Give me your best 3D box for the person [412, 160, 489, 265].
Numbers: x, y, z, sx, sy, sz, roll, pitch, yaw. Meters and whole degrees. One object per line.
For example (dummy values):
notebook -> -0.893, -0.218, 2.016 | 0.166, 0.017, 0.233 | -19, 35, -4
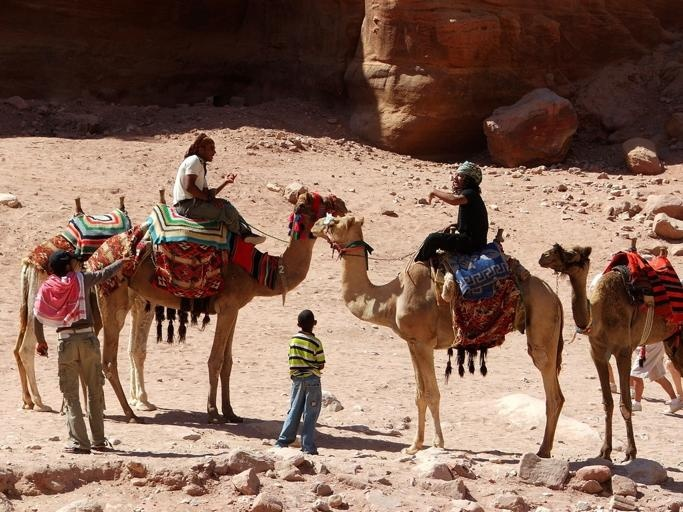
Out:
person -> 1.351, -0.561, 11.589 | 0.803, 1.175, 0.704 | 3, 14, 27

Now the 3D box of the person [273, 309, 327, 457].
person -> -0.380, 1.399, 11.362 | 0.793, 1.398, 0.667 | 1, 1, 22

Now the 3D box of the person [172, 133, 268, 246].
person -> -1.508, -0.836, 12.170 | 0.960, 1.393, 0.974 | 14, 17, 39
